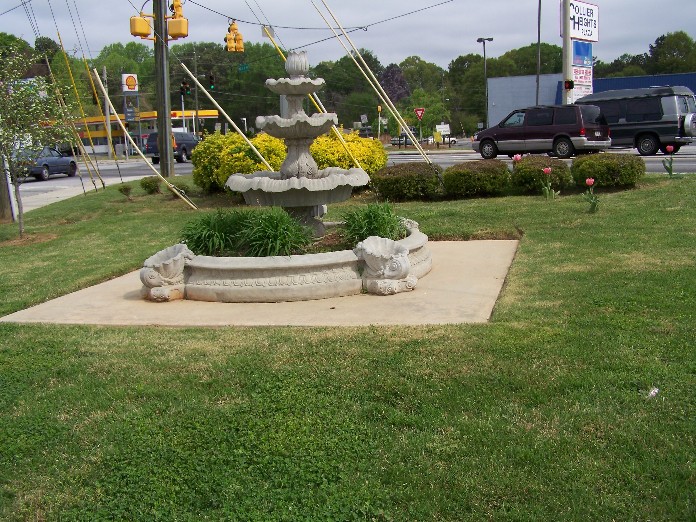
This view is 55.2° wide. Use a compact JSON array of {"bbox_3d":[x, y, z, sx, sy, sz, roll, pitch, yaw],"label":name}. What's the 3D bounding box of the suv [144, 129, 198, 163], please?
[{"bbox_3d":[-10.816,-6.963,40.942,2.918,1.902,3.737,-6,14,-11],"label":"suv"}]
